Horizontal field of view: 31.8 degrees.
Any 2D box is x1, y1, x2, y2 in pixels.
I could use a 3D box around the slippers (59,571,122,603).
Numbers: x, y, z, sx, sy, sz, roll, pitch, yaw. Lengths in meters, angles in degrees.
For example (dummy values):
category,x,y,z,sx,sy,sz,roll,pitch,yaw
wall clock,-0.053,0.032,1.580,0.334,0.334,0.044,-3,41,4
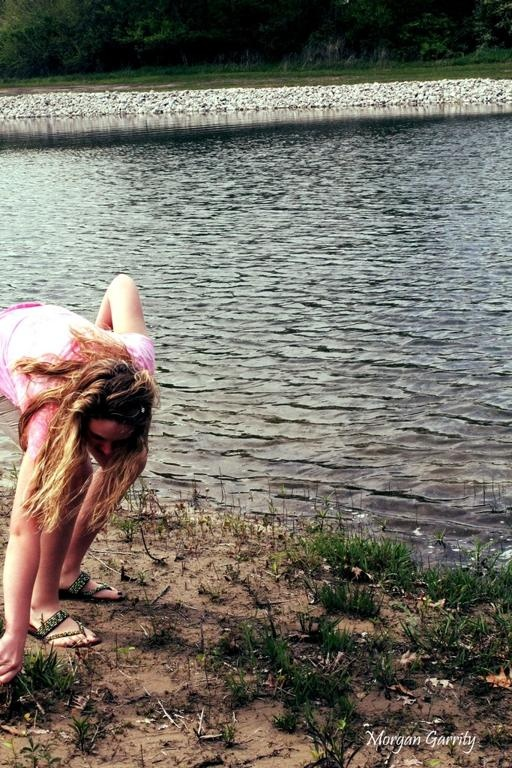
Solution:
category,x,y,z,sx,sy,sz,roll,pitch,yaw
slippers,-0.891,1.102,4.896,0.394,0.131,0.134,0,7,-15
